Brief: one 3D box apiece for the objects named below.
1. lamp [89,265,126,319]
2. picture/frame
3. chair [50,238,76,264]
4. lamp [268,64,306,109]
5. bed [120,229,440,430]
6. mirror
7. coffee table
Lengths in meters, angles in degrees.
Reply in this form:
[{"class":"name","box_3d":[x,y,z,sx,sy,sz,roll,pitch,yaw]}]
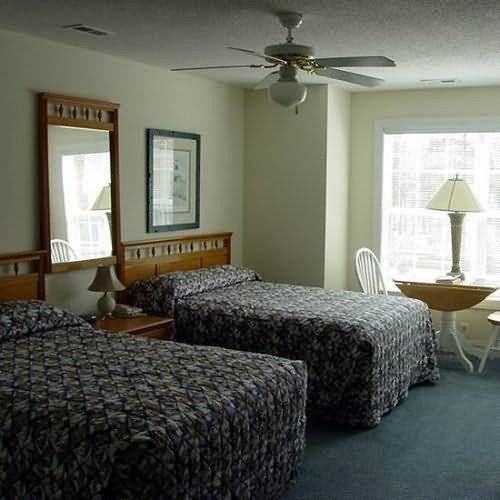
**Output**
[{"class":"lamp","box_3d":[-1.107,0.327,3.425,0.271,0.386,0.280,0,0,41]},{"class":"picture/frame","box_3d":[-0.736,-0.621,4.209,0.045,1.144,0.950,7,8,34]},{"class":"chair","box_3d":[-1.362,0.036,3.255,0.139,0.186,0.145,7,9,30]},{"class":"lamp","box_3d":[0.219,-0.811,2.389,0.199,0.241,0.209,-8,13,-31]},{"class":"bed","box_3d":[0.216,0.520,3.675,1.995,1.066,1.469,3,8,32]},{"class":"mirror","box_3d":[-1.267,-0.461,3.371,0.116,1.228,0.718,2,5,27]},{"class":"coffee table","box_3d":[1.977,0.475,4.411,1.129,0.955,0.738,1,2,29]}]
